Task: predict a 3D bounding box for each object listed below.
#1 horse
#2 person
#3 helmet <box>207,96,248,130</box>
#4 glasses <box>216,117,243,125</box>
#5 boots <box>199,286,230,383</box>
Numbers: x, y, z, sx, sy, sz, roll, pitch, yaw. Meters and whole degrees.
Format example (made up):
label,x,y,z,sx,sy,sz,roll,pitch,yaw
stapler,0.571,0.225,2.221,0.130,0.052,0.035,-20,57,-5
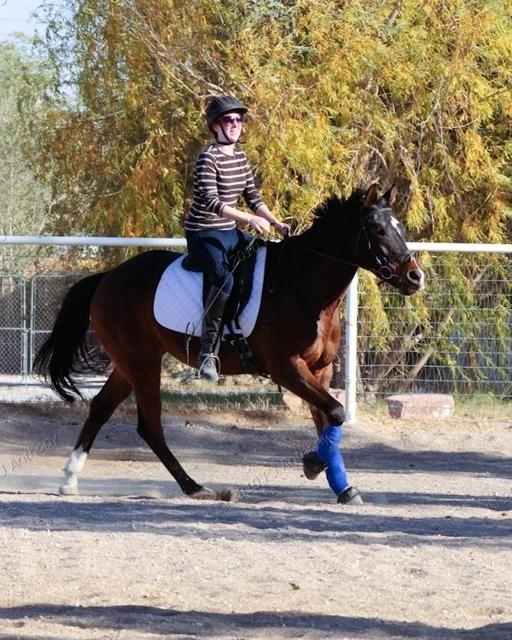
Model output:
label,x,y,z,sx,sy,sz,roll,pitch,yaw
horse,-0.251,0.282,6.437,3.593,2.147,0.916,-3,-7,35
person,-0.145,-0.573,5.996,0.674,1.992,0.778,1,2,-4
helmet,-0.224,-1.460,6.088,0.205,0.188,0.273,-29,22,-15
glasses,-0.172,-1.385,5.993,0.165,0.078,0.079,1,2,-4
boots,-0.292,0.091,5.973,0.190,0.654,0.191,1,2,-6
